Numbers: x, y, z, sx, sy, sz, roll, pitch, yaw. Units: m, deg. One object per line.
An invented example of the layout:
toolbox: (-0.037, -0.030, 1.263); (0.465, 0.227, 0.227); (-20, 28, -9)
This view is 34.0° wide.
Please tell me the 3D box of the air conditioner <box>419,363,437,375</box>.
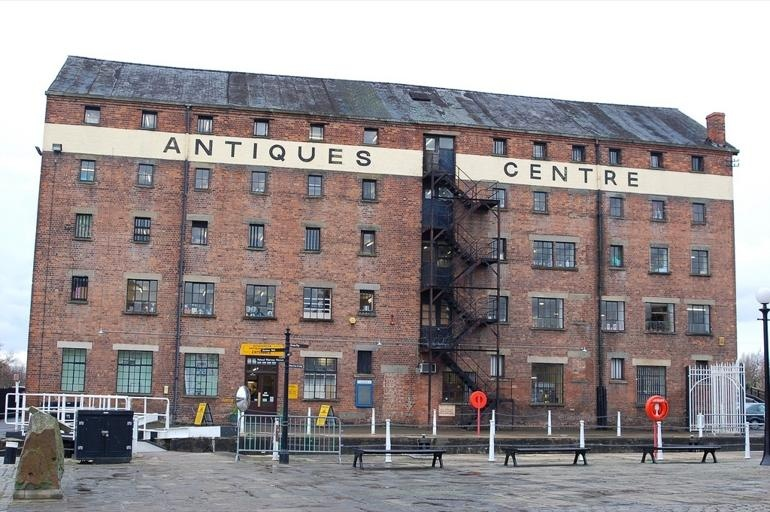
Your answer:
air conditioner: (2.465, 6.517, 73.220); (1.315, 0.788, 0.703); (1, -5, -5)

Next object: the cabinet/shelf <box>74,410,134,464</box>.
cabinet/shelf: (-12.924, 8.075, 56.189); (2.906, 2.290, 1.729); (7, -13, -38)
